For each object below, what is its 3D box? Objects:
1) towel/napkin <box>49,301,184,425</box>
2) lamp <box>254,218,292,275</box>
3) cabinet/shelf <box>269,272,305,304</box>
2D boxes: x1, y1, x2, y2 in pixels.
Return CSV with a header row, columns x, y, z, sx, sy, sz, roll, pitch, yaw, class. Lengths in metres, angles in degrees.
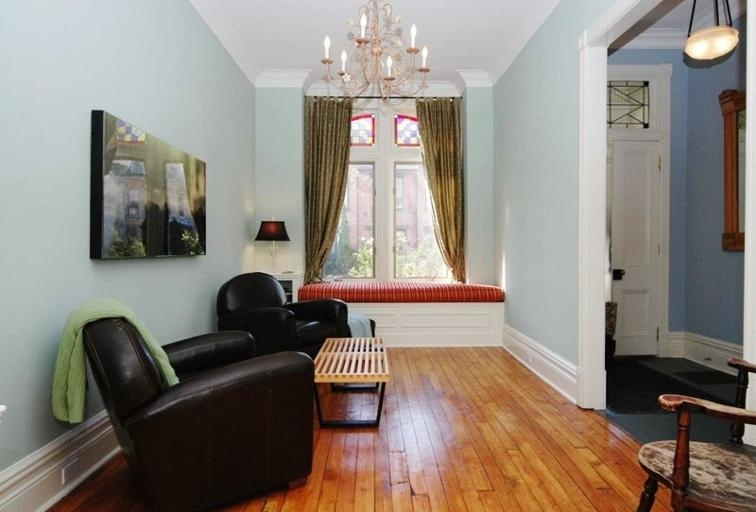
x,y,z,sx,sy,sz,roll,pitch,yaw,class
-1.833,0.671,3.976,0.874,0.884,0.650,-2,3,-27,towel/napkin
-1.290,-0.108,6.732,0.378,0.673,0.409,-3,15,-10,lamp
-1.060,0.388,6.625,0.330,0.471,0.321,0,-4,-1,cabinet/shelf
